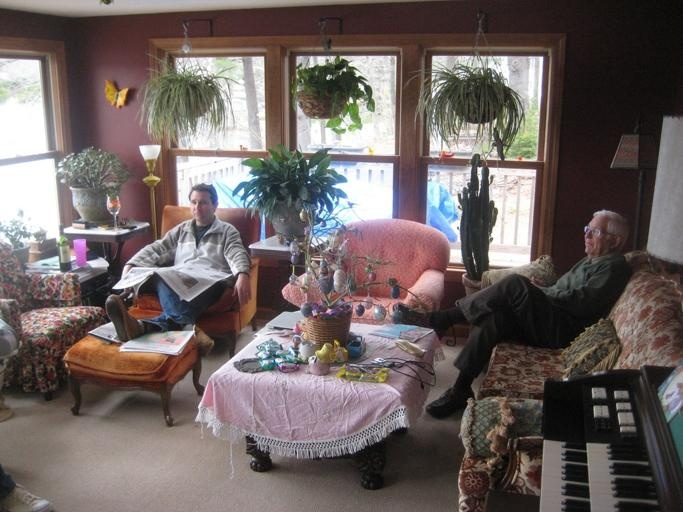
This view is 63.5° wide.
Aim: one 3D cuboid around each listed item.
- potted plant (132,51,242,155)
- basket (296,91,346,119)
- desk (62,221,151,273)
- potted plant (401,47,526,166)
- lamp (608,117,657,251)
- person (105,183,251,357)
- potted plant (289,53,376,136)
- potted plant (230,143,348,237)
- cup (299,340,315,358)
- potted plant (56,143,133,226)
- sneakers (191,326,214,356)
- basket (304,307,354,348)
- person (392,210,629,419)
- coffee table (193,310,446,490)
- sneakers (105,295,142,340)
[{"bbox_3d":[-1.317,-1.282,4.536,0.806,0.783,0.579,1,13,8],"label":"potted plant"},{"bbox_3d":[-0.159,-1.029,3.853,0.206,0.115,0.216,1,5,0],"label":"basket"},{"bbox_3d":[-1.955,-0.137,4.633,0.523,0.536,0.536,3,13,13],"label":"desk"},{"bbox_3d":[0.874,-1.053,3.821,0.677,0.511,0.638,0,9,-13],"label":"potted plant"},{"bbox_3d":[1.951,-0.468,3.730,0.250,0.893,0.447,6,15,26],"label":"lamp"},{"bbox_3d":[-1.109,0.067,3.873,0.897,1.049,1.352,5,12,12],"label":"person"},{"bbox_3d":[-0.090,-1.173,4.017,0.559,0.547,0.583,-4,14,-15],"label":"potted plant"},{"bbox_3d":[-0.367,-0.375,4.037,0.665,0.618,0.788,1,-6,-9],"label":"potted plant"},{"bbox_3d":[-0.185,0.491,2.916,0.074,0.105,0.075,-1,6,0],"label":"cup"},{"bbox_3d":[-2.056,-0.543,4.554,0.500,0.602,0.571,-3,10,-5],"label":"potted plant"},{"bbox_3d":[-0.931,0.558,3.685,0.144,0.069,0.188,22,26,-18],"label":"sneakers"},{"bbox_3d":[-0.074,0.409,2.988,0.206,0.167,0.211,3,6,39],"label":"basket"},{"bbox_3d":[1.055,0.316,3.406,1.232,1.436,0.652,13,-3,2],"label":"person"},{"bbox_3d":[-0.096,0.583,2.922,0.835,0.408,0.826,1,7,17],"label":"coffee table"},{"bbox_3d":[-1.369,0.396,3.457,0.080,0.239,0.157,-13,6,4],"label":"sneakers"}]
